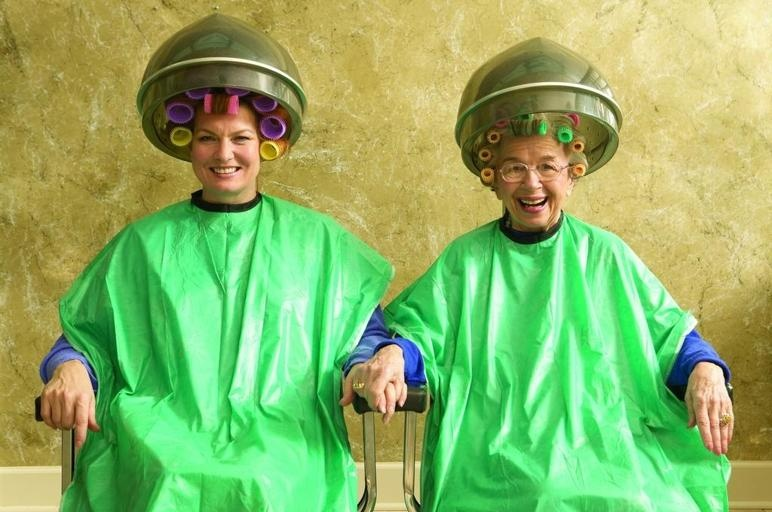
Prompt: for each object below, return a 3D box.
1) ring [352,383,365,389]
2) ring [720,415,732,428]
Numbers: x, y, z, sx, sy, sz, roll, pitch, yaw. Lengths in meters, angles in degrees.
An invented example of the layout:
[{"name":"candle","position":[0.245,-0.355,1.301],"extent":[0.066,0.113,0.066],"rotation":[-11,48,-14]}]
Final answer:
[{"name":"ring","position":[-0.098,0.468,6.067],"extent":[0.039,0.028,0.010],"rotation":[-14,-21,32]},{"name":"ring","position":[1.238,0.596,6.063],"extent":[0.043,0.040,0.015],"rotation":[-5,-18,10]}]
